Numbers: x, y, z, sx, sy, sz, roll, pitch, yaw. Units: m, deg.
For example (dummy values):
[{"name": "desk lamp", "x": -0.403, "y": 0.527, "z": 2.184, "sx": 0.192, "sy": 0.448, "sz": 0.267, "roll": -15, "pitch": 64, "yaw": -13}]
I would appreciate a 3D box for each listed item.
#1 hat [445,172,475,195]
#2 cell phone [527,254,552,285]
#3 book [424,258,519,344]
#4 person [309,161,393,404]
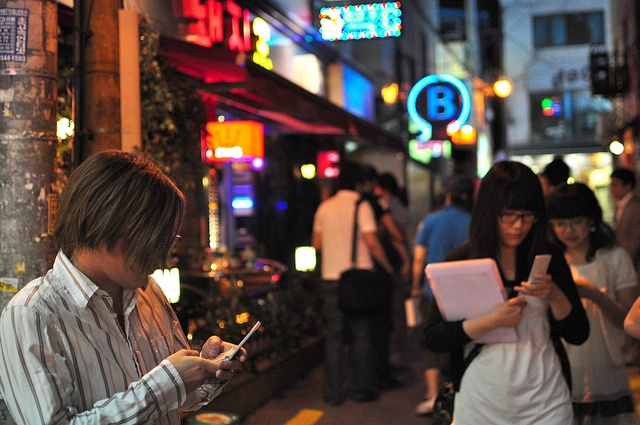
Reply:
[{"name": "hat", "x": 1.464, "y": -0.306, "z": 7.246, "sx": 0.293, "sy": 0.204, "sz": 0.303, "roll": 1, "pitch": -2, "yaw": 42}, {"name": "cell phone", "x": 1.297, "y": 0.333, "z": 3.941, "sx": 0.148, "sy": 0.256, "sz": 0.026, "roll": 7, "pitch": 18, "yaw": -33}, {"name": "book", "x": 0.859, "y": 0.458, "z": 3.948, "sx": 0.434, "sy": 0.378, "sz": 0.232, "roll": -3, "pitch": 2, "yaw": 24}, {"name": "person", "x": 0.331, "y": 0.715, "z": 7.490, "sx": 0.792, "sy": 2.592, "sz": 1.275, "roll": -3, "pitch": 2, "yaw": -2}]
